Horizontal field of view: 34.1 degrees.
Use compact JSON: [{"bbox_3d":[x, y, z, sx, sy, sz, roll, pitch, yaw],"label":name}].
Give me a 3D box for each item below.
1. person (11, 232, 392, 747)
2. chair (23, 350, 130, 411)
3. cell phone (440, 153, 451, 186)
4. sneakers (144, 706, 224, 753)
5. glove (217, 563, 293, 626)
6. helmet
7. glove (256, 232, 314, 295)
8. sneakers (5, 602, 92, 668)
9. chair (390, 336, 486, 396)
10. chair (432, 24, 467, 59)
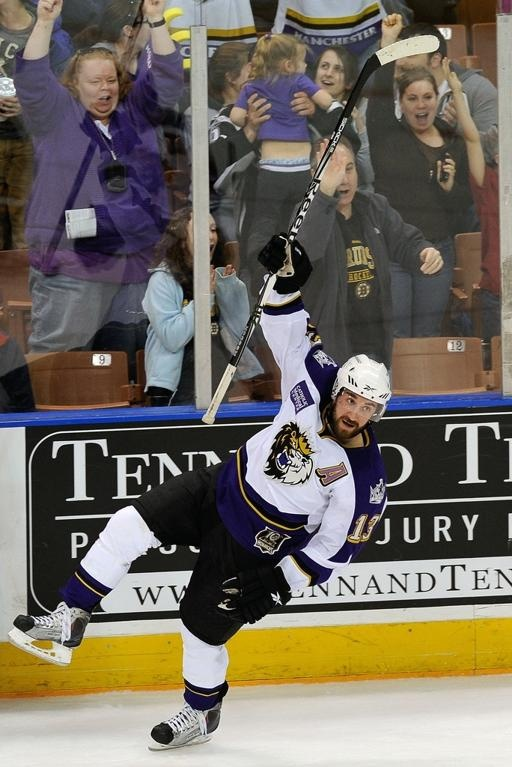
[{"bbox_3d":[-0.090,0.361,2.401,0.909,1.526,0.358,1,4,9],"label":"person"},{"bbox_3d":[-0.601,-0.009,2.845,0.376,0.221,0.193,-1,9,-10],"label":"chair"},{"bbox_3d":[0.663,-0.762,2.959,0.050,0.083,0.021,-2,6,-33],"label":"cell phone"},{"bbox_3d":[-0.212,1.071,2.560,0.165,0.145,0.051,5,38,-48],"label":"sneakers"},{"bbox_3d":[0.000,0.587,2.313,0.239,0.130,0.077,-23,-8,29],"label":"glove"},{"bbox_3d":[0.318,-0.005,2.346,0.153,0.174,0.184,29,8,-13],"label":"helmet"},{"bbox_3d":[0.075,-0.324,2.238,0.091,0.162,0.177,2,4,19],"label":"glove"},{"bbox_3d":[-0.580,0.715,2.363,0.212,0.175,0.111,-2,5,-43],"label":"sneakers"},{"bbox_3d":[0.644,-0.058,3.029,0.258,0.144,0.246,-1,1,-24],"label":"chair"},{"bbox_3d":[0.685,-1.192,2.917,0.105,0.130,0.111,-1,9,-1],"label":"chair"}]
